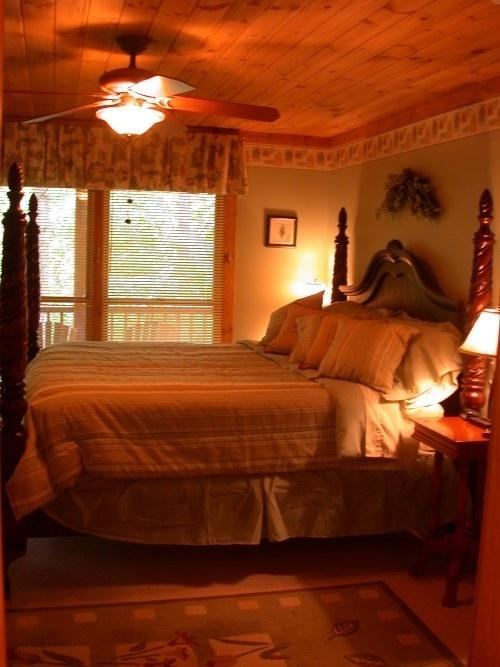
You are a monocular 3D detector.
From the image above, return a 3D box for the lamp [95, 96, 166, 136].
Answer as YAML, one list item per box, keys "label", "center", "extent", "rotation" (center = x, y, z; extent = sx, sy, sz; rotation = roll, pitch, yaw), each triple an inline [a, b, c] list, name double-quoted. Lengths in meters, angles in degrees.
- label: "lamp"
  center: [-0.638, -1.118, 3.015]
  extent: [0.259, 0.148, 0.256]
  rotation: [13, 26, 17]

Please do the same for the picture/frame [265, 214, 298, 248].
- label: "picture/frame"
  center: [0.289, -1.008, 5.581]
  extent: [0.382, 0.333, 0.037]
  rotation: [-2, 7, -18]

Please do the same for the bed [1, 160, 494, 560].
- label: "bed"
  center: [0.174, 0.130, 3.285]
  extent: [2.610, 1.469, 1.796]
  rotation: [2, 4, -8]
